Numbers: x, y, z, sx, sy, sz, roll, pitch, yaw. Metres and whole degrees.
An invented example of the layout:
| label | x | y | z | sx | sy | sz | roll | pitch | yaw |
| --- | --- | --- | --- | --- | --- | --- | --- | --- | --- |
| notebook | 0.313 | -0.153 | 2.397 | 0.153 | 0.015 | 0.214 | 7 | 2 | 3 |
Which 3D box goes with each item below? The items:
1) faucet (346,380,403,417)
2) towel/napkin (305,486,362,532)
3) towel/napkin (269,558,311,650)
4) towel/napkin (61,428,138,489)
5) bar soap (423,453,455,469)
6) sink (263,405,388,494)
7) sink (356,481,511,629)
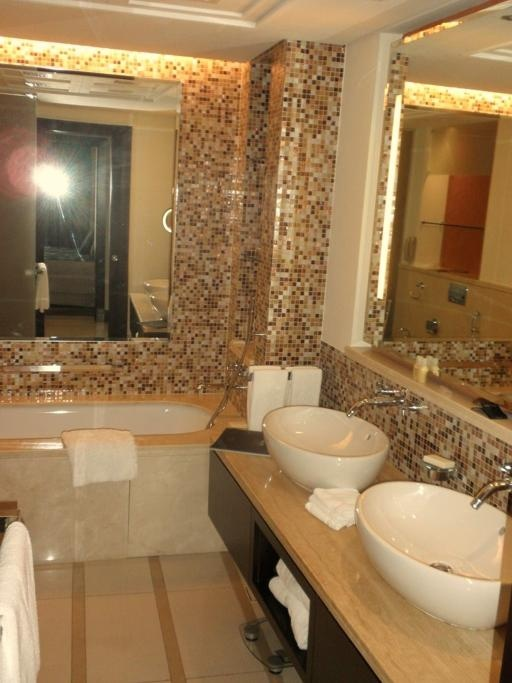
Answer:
| label | x | y | z | sx | sy | sz | roll | pitch | yaw |
| --- | --- | --- | --- | --- | --- | --- | --- | --- | --- |
| faucet | 0.465 | 0.223 | 1.970 | 0.167 | 0.077 | 0.360 | 6 | 7 | 26 |
| towel/napkin | 0.244 | 0.499 | 1.626 | 0.158 | 0.061 | 0.160 | -6 | 14 | -30 |
| towel/napkin | 0.112 | 0.812 | 1.638 | 0.048 | 0.166 | 0.161 | -9 | -12 | -14 |
| towel/napkin | -0.751 | 0.568 | 2.561 | 0.280 | 0.292 | 0.099 | 2 | 9 | -15 |
| bar soap | 0.549 | 0.365 | 1.585 | 0.077 | 0.026 | 0.088 | 1 | 6 | -16 |
| sink | 0.259 | 0.472 | 1.937 | 0.266 | 0.142 | 0.422 | -2 | 8 | -20 |
| sink | 0.412 | 0.476 | 1.239 | 0.298 | 0.162 | 0.405 | 0 | 9 | -9 |
